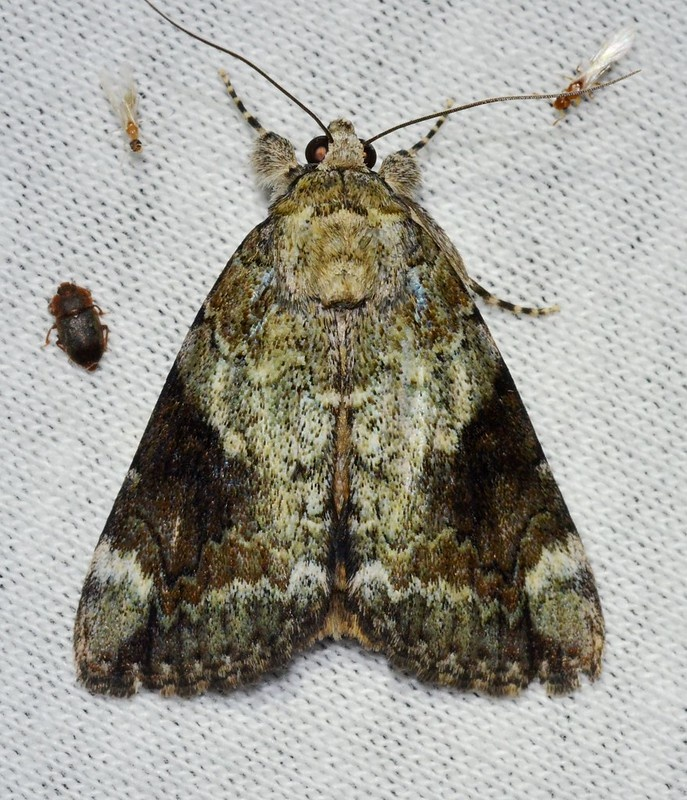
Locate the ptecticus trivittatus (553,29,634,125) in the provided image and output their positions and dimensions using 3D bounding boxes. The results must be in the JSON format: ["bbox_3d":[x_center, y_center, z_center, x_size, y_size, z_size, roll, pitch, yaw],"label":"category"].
[{"bbox_3d":[0.481,-0.627,2.538,0.082,0.073,0.246,37,-67,0],"label":"ptecticus trivittatus"}]
